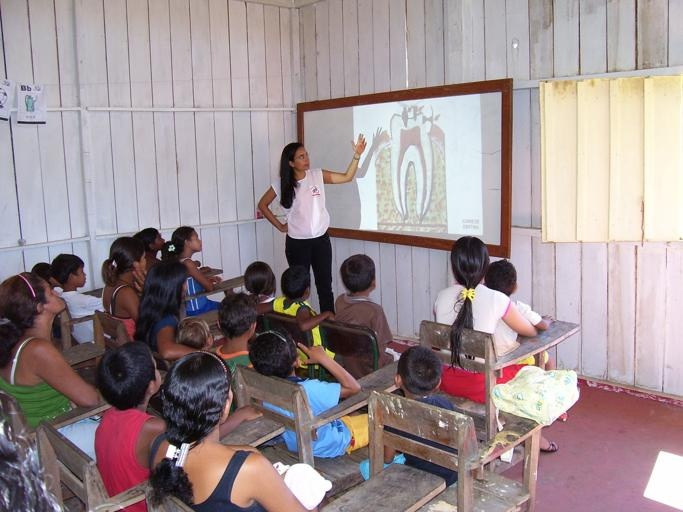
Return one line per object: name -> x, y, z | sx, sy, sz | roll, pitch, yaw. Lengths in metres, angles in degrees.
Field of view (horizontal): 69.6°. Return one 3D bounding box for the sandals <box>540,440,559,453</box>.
sandals -> 1.235, 1.132, 2.931 | 0.136, 0.042, 0.059 | -1, 12, 2
